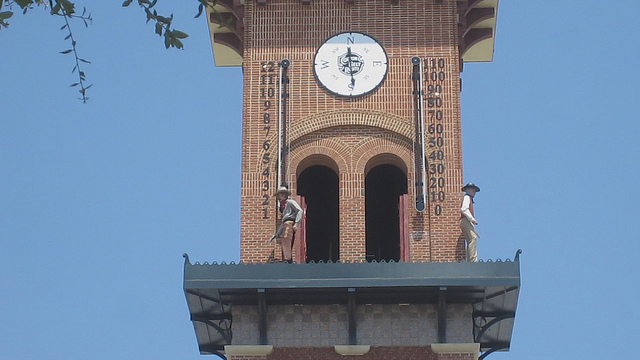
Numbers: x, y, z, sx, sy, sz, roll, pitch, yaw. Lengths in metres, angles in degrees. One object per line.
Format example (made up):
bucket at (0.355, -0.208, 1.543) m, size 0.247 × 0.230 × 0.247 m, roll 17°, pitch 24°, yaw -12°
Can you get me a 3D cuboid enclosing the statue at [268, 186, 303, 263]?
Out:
statue at (-1.440, 2.096, 89.931) m, size 1.094 × 3.358 × 1.274 m, roll 0°, pitch -1°, yaw 7°
